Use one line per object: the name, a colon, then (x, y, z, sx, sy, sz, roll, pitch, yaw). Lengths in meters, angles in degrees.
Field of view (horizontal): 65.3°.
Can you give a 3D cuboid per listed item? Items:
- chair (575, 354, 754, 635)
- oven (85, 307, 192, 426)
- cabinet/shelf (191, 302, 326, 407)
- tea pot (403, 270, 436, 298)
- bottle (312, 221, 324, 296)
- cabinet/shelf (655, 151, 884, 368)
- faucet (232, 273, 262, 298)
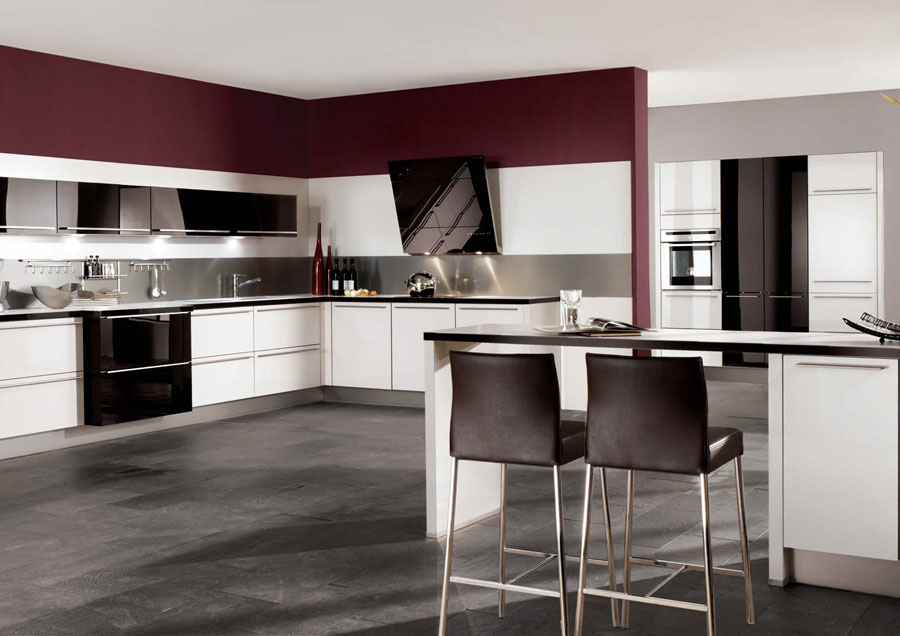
chair: (0.912, 0.731, 3.057, 0.760, 1.195, 0.966, 3, 6, 32)
oven: (-2.848, 0.430, 6.470, 0.341, 0.939, 1.003, 3, 4, 34)
cabinet/shelf: (-2.066, 0.372, 7.389, 0.361, 0.682, 1.165, -2, -1, 35)
tea pot: (-0.326, -0.382, 7.884, 0.279, 0.245, 0.279, -5, -1, 0)
bottle: (-1.614, -0.747, 8.635, 0.146, 0.875, 0.293, -2, 5, -10)
cabinet/shelf: (3.724, -0.805, 7.963, 2.744, 2.725, 0.984, 0, 1, 24)
faucet: (-2.346, -0.390, 8.117, 0.110, 0.271, 0.445, 2, 6, 24)
